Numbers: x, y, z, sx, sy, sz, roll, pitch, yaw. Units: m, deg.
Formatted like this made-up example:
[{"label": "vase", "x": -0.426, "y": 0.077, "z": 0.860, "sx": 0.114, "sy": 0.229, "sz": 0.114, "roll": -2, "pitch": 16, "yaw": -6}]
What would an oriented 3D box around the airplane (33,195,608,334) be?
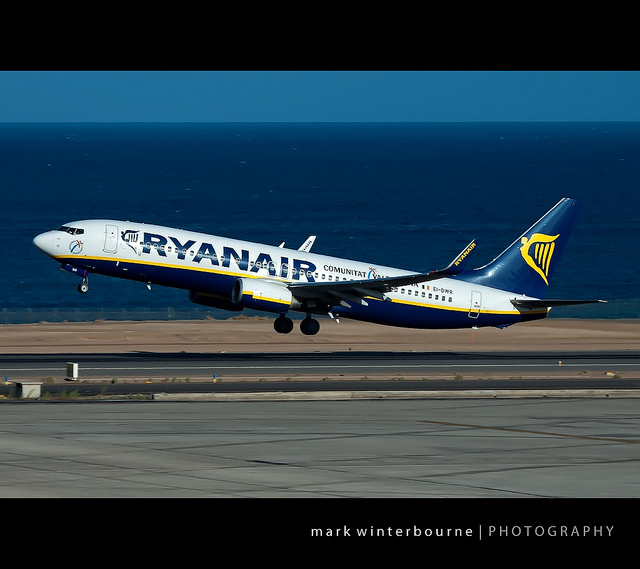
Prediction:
[{"label": "airplane", "x": 1.025, "y": -0.324, "z": 60.792, "sx": 27.234, "sy": 11.666, "sz": 4.340, "roll": -13, "pitch": 42, "yaw": -13}]
